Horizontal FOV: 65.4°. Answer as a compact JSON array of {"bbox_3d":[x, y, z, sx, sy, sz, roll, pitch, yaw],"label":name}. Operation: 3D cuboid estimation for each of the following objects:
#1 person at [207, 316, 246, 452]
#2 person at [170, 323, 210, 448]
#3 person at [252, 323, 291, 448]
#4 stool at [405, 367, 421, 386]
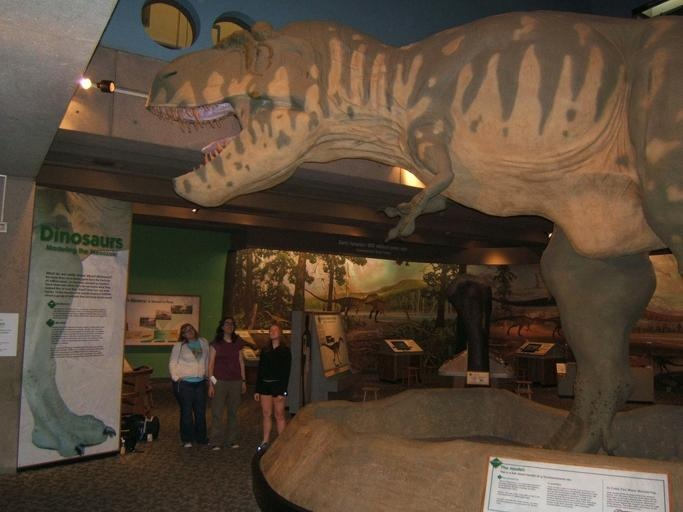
[{"bbox_3d":[-1.469,1.599,6.744,0.440,1.611,0.304,-2,-5,-10],"label":"person"},{"bbox_3d":[-1.921,1.628,6.787,0.477,1.532,0.478,-2,-5,-13],"label":"person"},{"bbox_3d":[-0.871,1.624,6.689,0.429,1.486,0.455,-2,-5,-14],"label":"person"},{"bbox_3d":[1.799,3.076,13.609,0.406,0.566,0.428,-10,-11,40],"label":"stool"}]
